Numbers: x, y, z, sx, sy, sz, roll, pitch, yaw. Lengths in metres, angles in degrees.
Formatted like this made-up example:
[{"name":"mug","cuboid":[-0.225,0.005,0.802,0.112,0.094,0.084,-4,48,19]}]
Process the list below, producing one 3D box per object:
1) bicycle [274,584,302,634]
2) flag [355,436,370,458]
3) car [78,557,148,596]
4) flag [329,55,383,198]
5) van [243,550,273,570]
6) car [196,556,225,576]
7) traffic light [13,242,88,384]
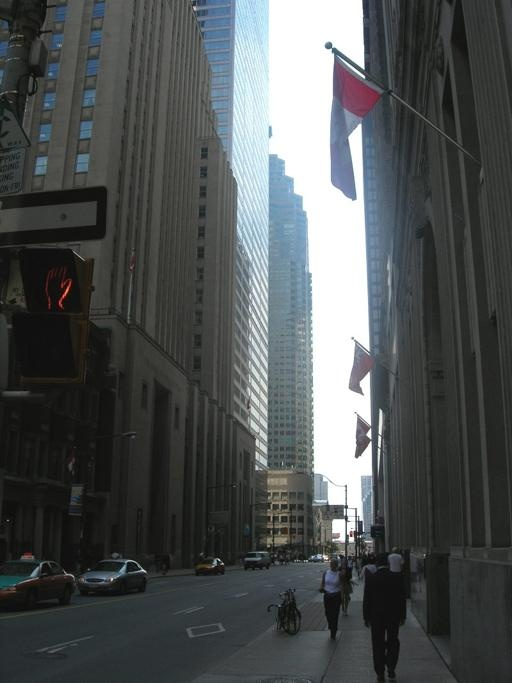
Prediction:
[{"name":"bicycle","cuboid":[0.785,6.485,14.962,0.590,0.995,2.420,-1,-19,2]},{"name":"flag","cuboid":[6.282,6.265,37.017,0.796,1.453,3.017,-3,-18,9]},{"name":"car","cuboid":[-6.032,10.054,26.535,1.620,1.365,3.468,-7,-19,18]},{"name":"flag","cuboid":[1.819,-4.201,11.839,0.882,0.328,3.575,2,-30,6]},{"name":"van","cuboid":[0.090,25.100,71.105,1.650,1.910,4.983,-6,-19,19]},{"name":"car","cuboid":[-3.994,19.745,54.445,2.386,1.345,2.990,2,-19,-10]},{"name":"traffic light","cuboid":[-1.201,-0.220,3.640,0.456,0.862,0.665,4,-16,-18]}]
